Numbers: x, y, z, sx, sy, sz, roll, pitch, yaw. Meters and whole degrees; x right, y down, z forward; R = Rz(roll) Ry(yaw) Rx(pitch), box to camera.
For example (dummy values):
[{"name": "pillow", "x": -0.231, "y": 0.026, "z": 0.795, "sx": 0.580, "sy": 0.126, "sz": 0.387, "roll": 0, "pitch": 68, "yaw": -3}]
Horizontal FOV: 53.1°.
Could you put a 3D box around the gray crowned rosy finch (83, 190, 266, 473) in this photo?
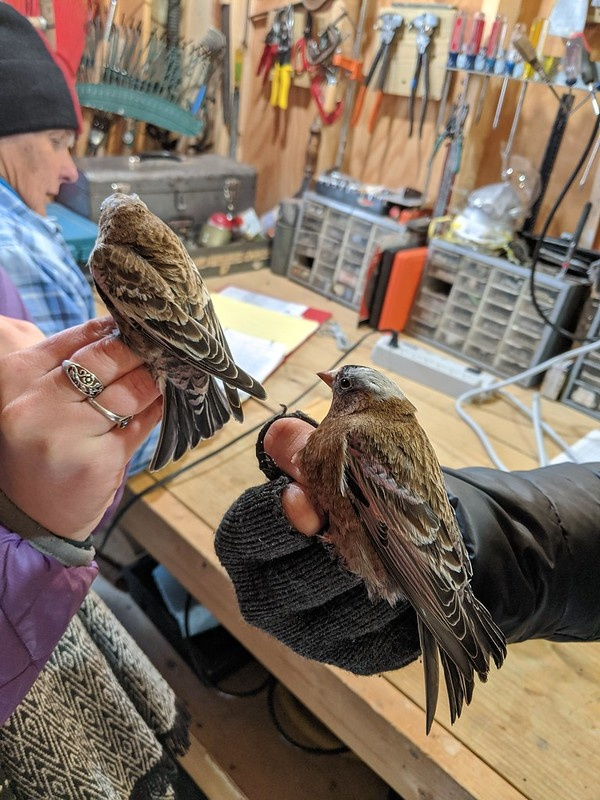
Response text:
[{"name": "gray crowned rosy finch", "x": -0.201, "y": -0.128, "z": 0.855, "sx": 0.184, "sy": 0.188, "sz": 0.440, "roll": 0, "pitch": 51, "yaw": -43}]

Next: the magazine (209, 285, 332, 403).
[{"name": "magazine", "x": -0.082, "y": -0.187, "z": 1.561, "sx": 0.357, "sy": 0.037, "sz": 0.315, "roll": 29, "pitch": 40, "yaw": 25}]

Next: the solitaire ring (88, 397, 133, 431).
[{"name": "solitaire ring", "x": -0.212, "y": 0.016, "z": 0.683, "sx": 0.038, "sy": 0.020, "sz": 0.034, "roll": 34, "pitch": 6, "yaw": 9}]

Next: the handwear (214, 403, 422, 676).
[{"name": "handwear", "x": 0.074, "y": 0.200, "z": 0.751, "sx": 0.165, "sy": 0.314, "sz": 0.242, "roll": -37, "pitch": 31, "yaw": -19}]

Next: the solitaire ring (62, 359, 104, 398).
[{"name": "solitaire ring", "x": -0.233, "y": -0.022, "z": 0.642, "sx": 0.044, "sy": 0.034, "sz": 0.015, "roll": 36, "pitch": 50, "yaw": -6}]
